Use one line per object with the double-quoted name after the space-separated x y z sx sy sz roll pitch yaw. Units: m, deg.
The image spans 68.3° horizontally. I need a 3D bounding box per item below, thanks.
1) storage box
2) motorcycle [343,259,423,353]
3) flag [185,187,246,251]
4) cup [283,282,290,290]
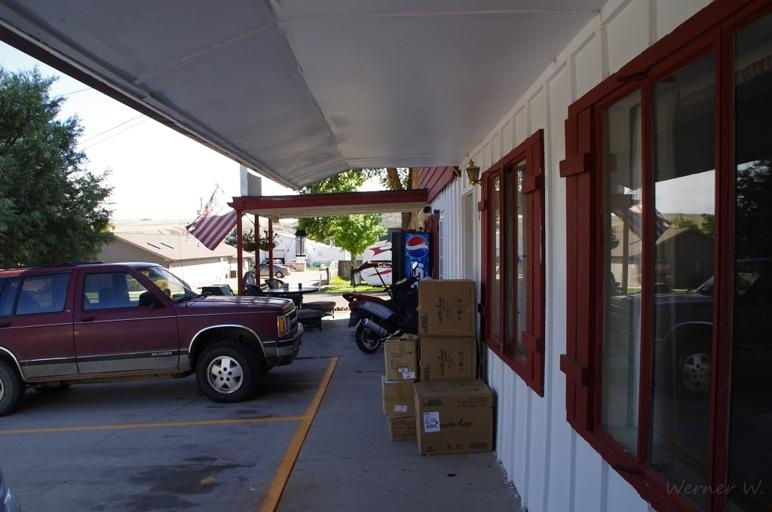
0.576 1.201 6.433 1.216 1.772 1.003 -2 6 -1 "storage box"
-0.026 1.002 10.054 1.907 1.310 0.581 0 0 -20 "motorcycle"
-6.214 -1.168 20.843 2.614 2.714 0.252 30 -14 37 "flag"
-2.351 0.728 13.521 0.169 0.175 0.176 0 1 0 "cup"
